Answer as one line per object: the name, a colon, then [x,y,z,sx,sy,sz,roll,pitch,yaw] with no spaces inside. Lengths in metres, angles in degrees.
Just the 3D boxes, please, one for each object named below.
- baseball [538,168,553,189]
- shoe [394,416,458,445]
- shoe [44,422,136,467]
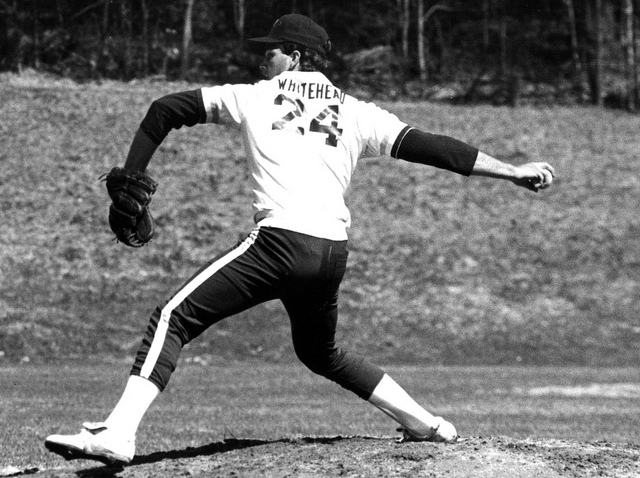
baseball: [2.941,-0.791,20.523,0.160,0.244,0.267,3,6,25]
shoe: [1.391,2.460,20.624,0.781,0.306,0.283,1,5,10]
shoe: [-2.891,2.572,19.925,1.087,0.560,0.186,0,5,-2]
